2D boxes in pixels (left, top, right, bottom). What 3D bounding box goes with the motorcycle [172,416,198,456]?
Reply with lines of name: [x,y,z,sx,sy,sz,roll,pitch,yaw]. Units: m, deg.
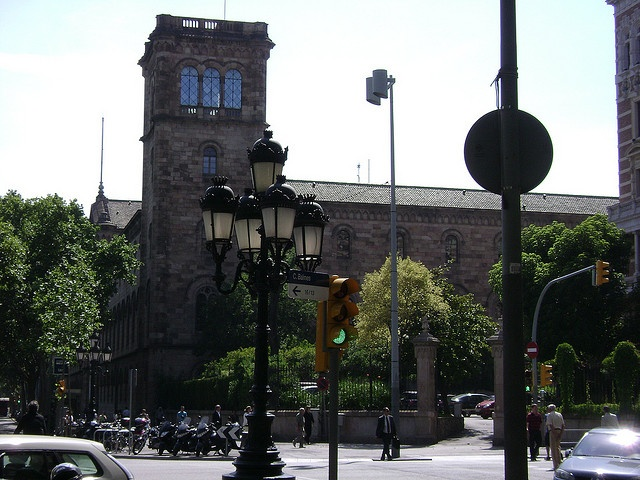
motorcycle: [-6.237,9.267,57.142,1.149,1.636,1.697,-1,-9,-7]

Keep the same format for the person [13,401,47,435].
person: [-10.855,6.809,46.649,0.967,1.254,1.463,5,-11,-36]

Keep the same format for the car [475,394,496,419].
car: [10.713,10.955,79.357,1.181,1.407,6.347,-3,-10,6]

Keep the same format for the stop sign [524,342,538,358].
stop sign: [10.520,5.463,60.665,0.415,0.889,1.262,-2,-9,5]

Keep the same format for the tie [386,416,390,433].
tie: [3.044,8.287,54.656,0.265,0.696,0.162,2,-9,-25]

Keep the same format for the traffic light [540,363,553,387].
traffic light: [11.250,6.753,61.066,0.547,1.090,1.296,-3,-9,7]

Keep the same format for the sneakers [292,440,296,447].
sneakers: [-1.273,10.272,61.188,0.123,0.281,0.400,-5,-42,-2]

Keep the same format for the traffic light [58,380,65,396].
traffic light: [-13.335,7.759,63.949,0.220,0.948,2.365,1,-10,-15]
